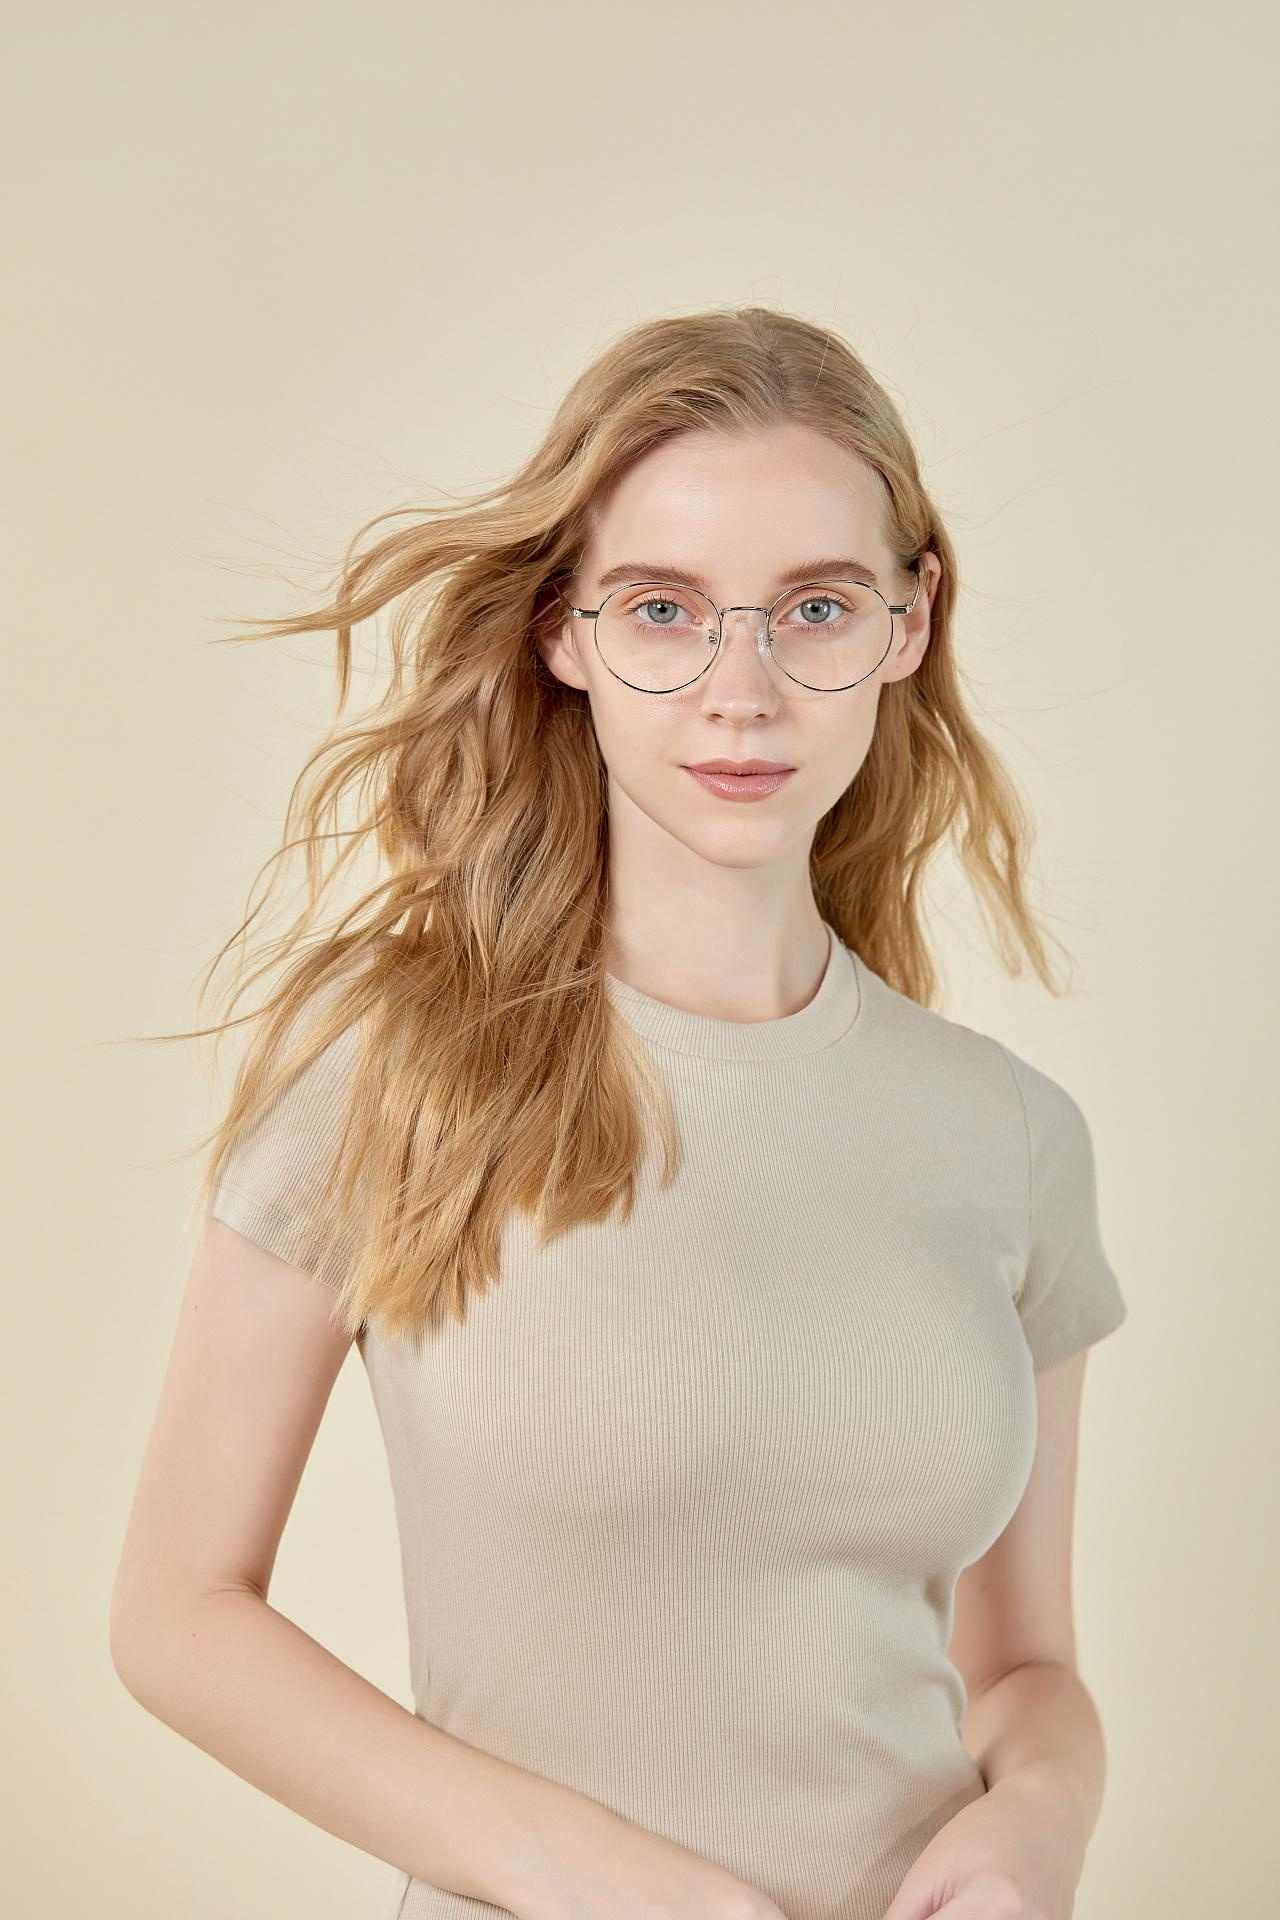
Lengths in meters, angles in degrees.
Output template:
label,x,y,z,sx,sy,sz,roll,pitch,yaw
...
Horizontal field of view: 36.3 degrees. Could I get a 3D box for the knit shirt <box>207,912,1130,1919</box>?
label,x,y,z,sx,sy,sz,roll,pitch,yaw
knit shirt,0.095,0.252,1.188,0.469,0.533,0.286,6,1,-40
